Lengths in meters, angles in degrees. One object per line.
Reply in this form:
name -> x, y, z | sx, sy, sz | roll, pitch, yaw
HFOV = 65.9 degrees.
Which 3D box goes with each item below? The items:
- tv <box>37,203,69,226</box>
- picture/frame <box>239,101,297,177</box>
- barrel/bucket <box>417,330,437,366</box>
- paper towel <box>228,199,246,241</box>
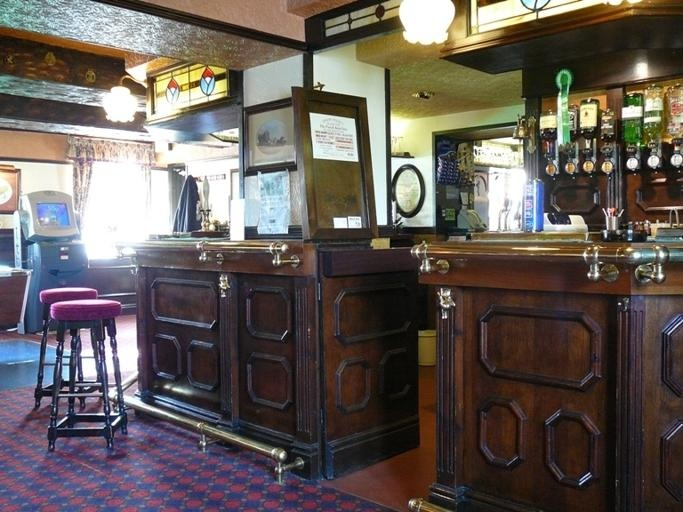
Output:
tv -> -4.568, -0.653, 8.343 | 0.371, 0.321, 0.049 | 1, -20, -41
picture/frame -> -0.588, -0.973, 4.362 | 0.058, 0.595, 0.681 | -5, 7, -42
barrel/bucket -> 0.949, 1.032, 5.840 | 0.166, 0.392, 0.140 | 1, 4, 18
paper towel -> -0.804, -0.285, 4.106 | 0.118, 0.313, 0.235 | -1, 4, -12
